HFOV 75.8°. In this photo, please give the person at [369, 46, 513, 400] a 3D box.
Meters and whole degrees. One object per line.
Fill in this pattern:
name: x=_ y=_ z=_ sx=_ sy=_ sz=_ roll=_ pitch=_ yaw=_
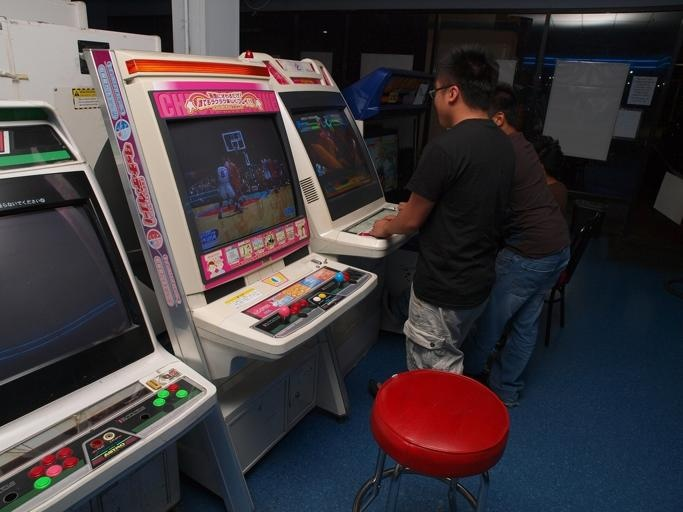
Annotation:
person: x=0.518 y=-0.162 z=2.098 sx=0.559 sy=1.506 sz=0.440 roll=-26 pitch=34 yaw=-38
